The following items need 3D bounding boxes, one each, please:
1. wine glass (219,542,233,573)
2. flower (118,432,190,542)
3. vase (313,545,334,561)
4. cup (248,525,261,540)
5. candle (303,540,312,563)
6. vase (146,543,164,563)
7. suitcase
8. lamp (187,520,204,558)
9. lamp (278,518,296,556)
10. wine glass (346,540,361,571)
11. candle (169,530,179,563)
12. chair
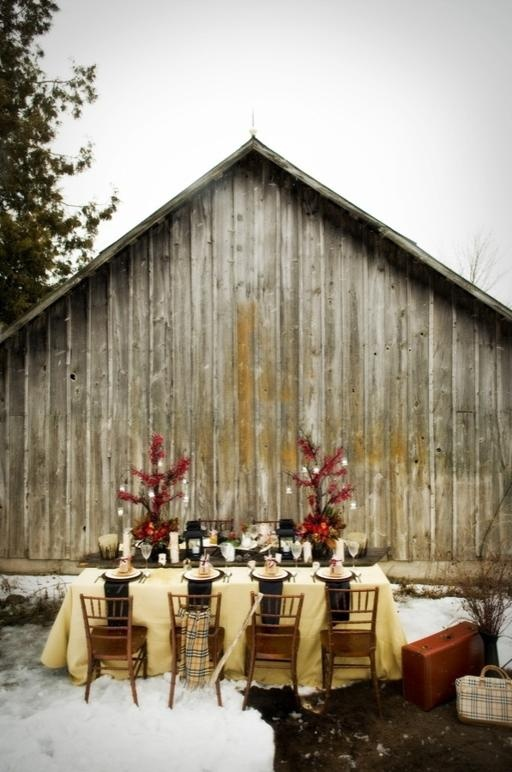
[{"bbox_3d":[-0.296,1.625,8.034,0.161,0.200,0.182,3,-8,-20],"label":"wine glass"},{"bbox_3d":[-1.112,1.045,8.995,0.851,1.515,0.623,4,15,10],"label":"flower"},{"bbox_3d":[0.672,1.639,8.179,0.141,0.162,0.146,10,-14,-26],"label":"vase"},{"bbox_3d":[-0.021,1.500,8.592,0.108,0.165,0.108,-1,-7,0],"label":"cup"},{"bbox_3d":[0.514,1.616,8.116,0.096,0.215,0.171,-1,-7,3],"label":"candle"},{"bbox_3d":[-0.987,1.640,8.209,0.140,0.170,0.169,1,-5,-3],"label":"vase"},{"bbox_3d":[1.664,2.474,7.270,0.560,0.470,0.202,-9,7,-35],"label":"suitcase"},{"bbox_3d":[-0.606,1.511,8.217,0.187,0.359,0.319,0,-7,-4],"label":"lamp"},{"bbox_3d":[0.309,1.493,8.345,0.246,0.472,0.266,0,-8,1],"label":"lamp"},{"bbox_3d":[0.964,1.620,8.132,0.118,0.249,0.284,-1,-7,6],"label":"wine glass"},{"bbox_3d":[-0.801,1.575,8.168,0.113,0.309,0.267,0,-7,-6],"label":"candle"},{"bbox_3d":[-0.252,2.269,7.356,2.623,1.025,0.657,0,-7,0],"label":"chair"}]
